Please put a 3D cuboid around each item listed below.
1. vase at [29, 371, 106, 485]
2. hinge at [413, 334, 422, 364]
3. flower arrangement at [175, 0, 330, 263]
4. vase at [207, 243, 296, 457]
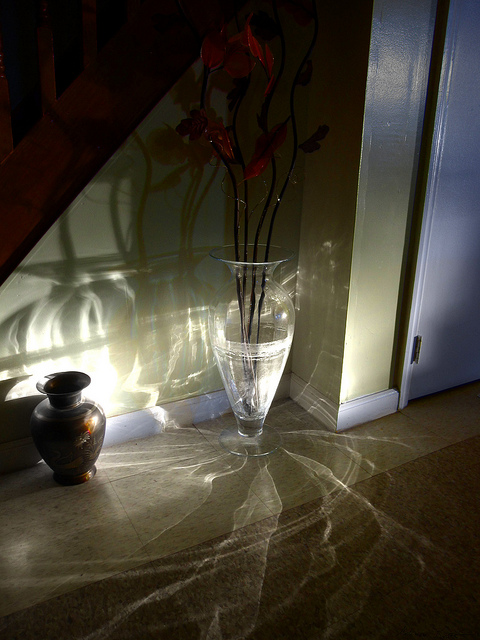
[{"bbox_3d":[-0.485,0.306,1.239,0.165,0.300,0.143,3,14,13],"label":"vase"},{"bbox_3d":[0.681,0.108,1.682,0.034,0.121,0.020,-7,15,-28],"label":"hinge"},{"bbox_3d":[0.059,-0.548,1.278,0.384,0.784,0.581,2,14,10],"label":"flower arrangement"},{"bbox_3d":[0.035,0.100,1.413,0.261,0.686,0.299,-1,13,-4],"label":"vase"}]
